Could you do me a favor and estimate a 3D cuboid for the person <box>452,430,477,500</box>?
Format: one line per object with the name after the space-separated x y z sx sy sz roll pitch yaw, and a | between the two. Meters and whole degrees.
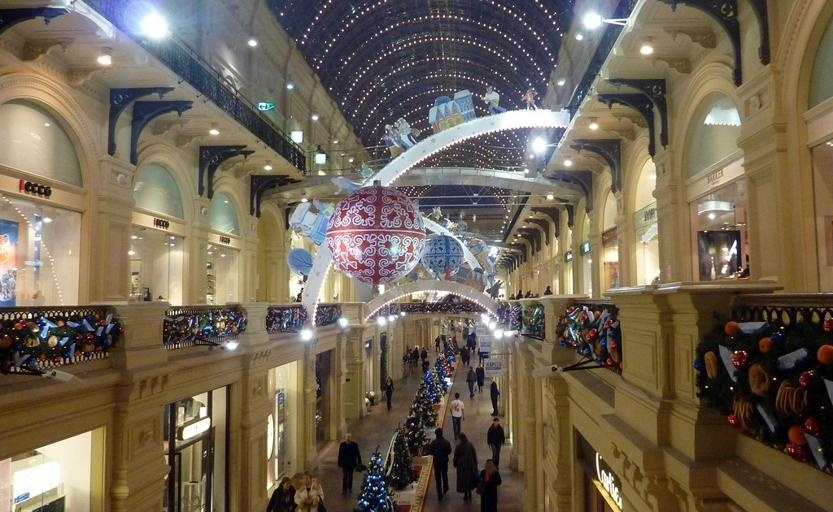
1.353 5.781 15.849 0.686 1.946 1.575 -4 -9 4 | person

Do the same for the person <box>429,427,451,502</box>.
0.667 5.864 16.331 0.596 1.938 1.349 -3 -9 0 | person

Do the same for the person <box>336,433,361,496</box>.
-1.931 6.046 16.710 0.672 1.736 0.532 2 5 2 | person
